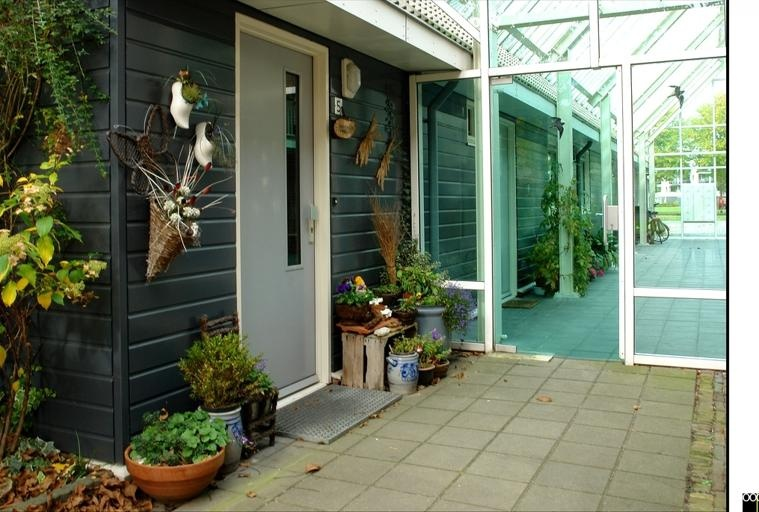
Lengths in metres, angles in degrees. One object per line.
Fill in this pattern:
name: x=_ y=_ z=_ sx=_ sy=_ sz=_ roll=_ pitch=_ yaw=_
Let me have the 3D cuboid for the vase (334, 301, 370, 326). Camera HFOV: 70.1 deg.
vase: x=-0.252 y=0.567 z=5.361 sx=0.221 sy=0.112 sz=0.261 roll=0 pitch=-1 yaw=35

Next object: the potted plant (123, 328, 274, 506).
potted plant: x=-1.244 y=1.068 z=3.695 sx=0.597 sy=0.904 sz=0.906 roll=1 pitch=7 yaw=17

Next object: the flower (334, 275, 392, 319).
flower: x=-0.190 y=0.447 z=5.487 sx=0.440 sy=0.321 sz=0.463 roll=3 pitch=-3 yaw=12

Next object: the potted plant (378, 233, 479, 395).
potted plant: x=0.784 y=0.629 z=6.551 sx=1.236 sy=1.905 sz=1.199 roll=11 pitch=-17 yaw=-34

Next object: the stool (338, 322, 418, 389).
stool: x=-0.056 y=0.846 z=5.485 sx=0.466 sy=0.581 sz=0.846 roll=-1 pitch=-3 yaw=23

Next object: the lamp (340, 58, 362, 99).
lamp: x=-0.262 y=-1.847 z=5.666 sx=0.149 sy=0.401 sz=0.343 roll=2 pitch=7 yaw=21

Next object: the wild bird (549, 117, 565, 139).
wild bird: x=2.472 y=-1.786 z=7.532 sx=0.139 sy=0.096 sz=0.232 roll=-23 pitch=5 yaw=4
